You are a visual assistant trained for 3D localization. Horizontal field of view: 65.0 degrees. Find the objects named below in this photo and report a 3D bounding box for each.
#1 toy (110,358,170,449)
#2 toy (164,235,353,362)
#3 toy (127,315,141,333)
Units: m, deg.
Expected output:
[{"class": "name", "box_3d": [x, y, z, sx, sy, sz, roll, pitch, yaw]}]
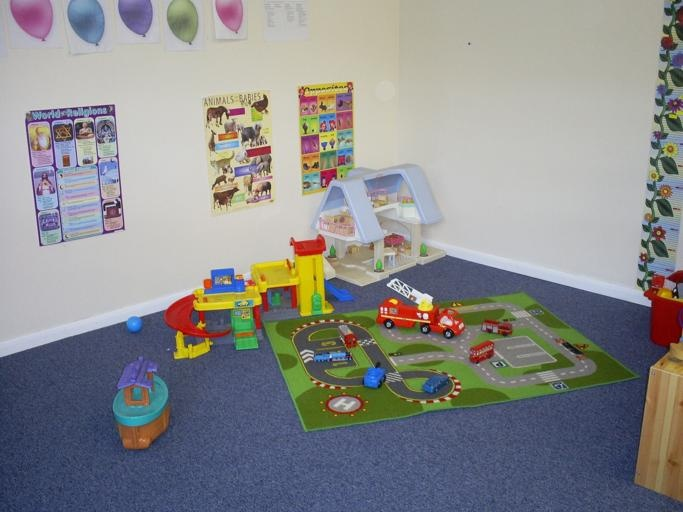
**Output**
[{"class": "toy", "box_3d": [-1.360, 0.973, 3.657, 0.330, 0.441, 0.523, -1, 20, -8]}, {"class": "toy", "box_3d": [-0.709, 0.460, 4.894, 1.499, 0.643, 0.923, -8, 33, -10]}, {"class": "toy", "box_3d": [-1.868, 0.613, 4.897, 0.128, 0.148, 0.131, 15, 9, 39]}]
